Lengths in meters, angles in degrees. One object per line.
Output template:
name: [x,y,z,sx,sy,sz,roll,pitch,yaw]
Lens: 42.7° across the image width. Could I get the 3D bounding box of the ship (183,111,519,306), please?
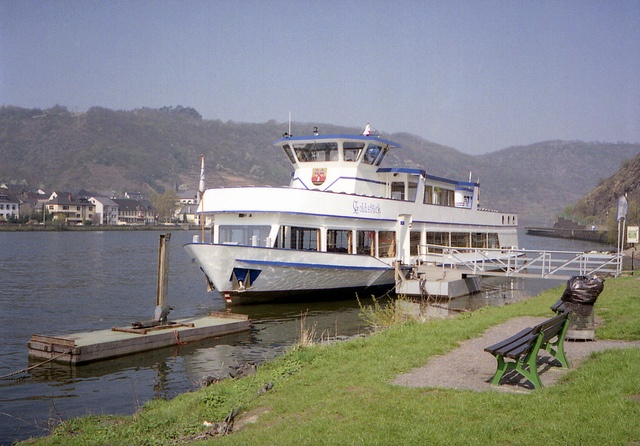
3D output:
ship: [1.373,0.139,48.845,7.149,8.905,28.401,-2,-5,40]
